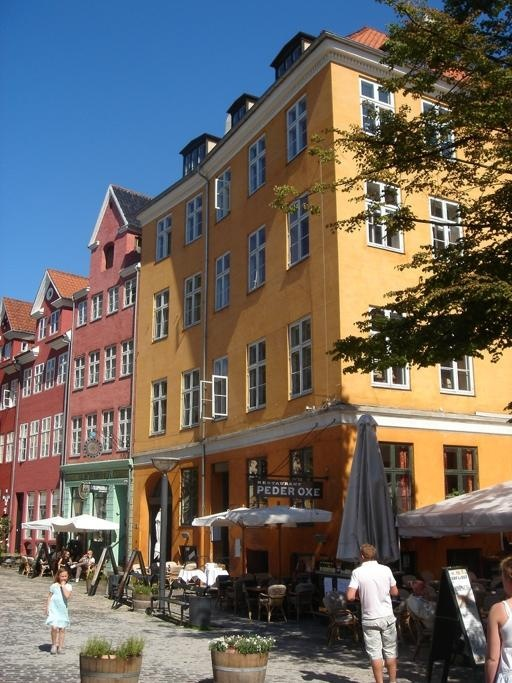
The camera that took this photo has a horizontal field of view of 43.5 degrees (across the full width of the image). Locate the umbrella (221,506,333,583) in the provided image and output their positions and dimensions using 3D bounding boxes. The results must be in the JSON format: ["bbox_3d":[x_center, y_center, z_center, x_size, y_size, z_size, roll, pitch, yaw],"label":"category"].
[{"bbox_3d":[0.257,5.443,17.208,2.606,1.974,4.318,2,-14,-18],"label":"umbrella"}]

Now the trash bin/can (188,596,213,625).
[{"bbox_3d":[-1.084,5.558,13.307,0.565,0.641,0.576,-4,-11,15],"label":"trash bin/can"}]

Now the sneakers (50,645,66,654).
[{"bbox_3d":[-3.020,4.699,9.768,0.148,0.114,0.257,13,-29,-20],"label":"sneakers"}]

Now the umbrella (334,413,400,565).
[{"bbox_3d":[1.995,2.694,11.778,1.123,2.688,0.652,4,-14,-25],"label":"umbrella"}]

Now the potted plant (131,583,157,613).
[{"bbox_3d":[-2.846,6.393,16.034,0.655,0.650,0.688,0,-18,0],"label":"potted plant"}]

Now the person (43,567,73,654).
[{"bbox_3d":[-3.144,4.300,10.252,0.331,1.194,1.056,2,-14,-15],"label":"person"}]

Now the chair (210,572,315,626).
[{"bbox_3d":[0.341,6.353,15.987,1.718,0.949,3.412,3,-14,-21],"label":"chair"}]

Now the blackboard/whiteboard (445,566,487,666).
[{"bbox_3d":[2.481,3.188,7.512,0.340,1.036,0.651,-10,-15,31],"label":"blackboard/whiteboard"}]
